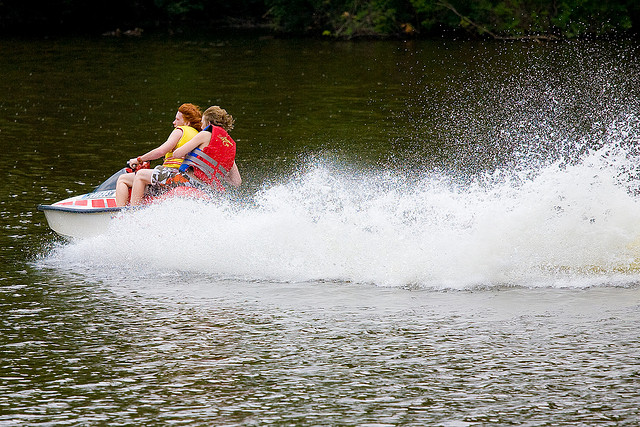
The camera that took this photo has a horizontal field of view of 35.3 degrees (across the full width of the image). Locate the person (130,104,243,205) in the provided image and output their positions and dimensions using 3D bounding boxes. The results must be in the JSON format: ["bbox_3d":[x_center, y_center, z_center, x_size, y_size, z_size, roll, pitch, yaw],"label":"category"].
[{"bbox_3d":[-1.889,-0.857,15.140,1.668,1.426,0.598,-3,27,-17],"label":"person"}]

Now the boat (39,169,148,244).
[{"bbox_3d":[-3.598,-0.075,15.334,2.097,0.674,1.009,-2,18,-6],"label":"boat"}]

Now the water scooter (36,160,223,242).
[{"bbox_3d":[-2.564,-0.170,15.550,3.608,0.952,1.519,-2,8,6],"label":"water scooter"}]
